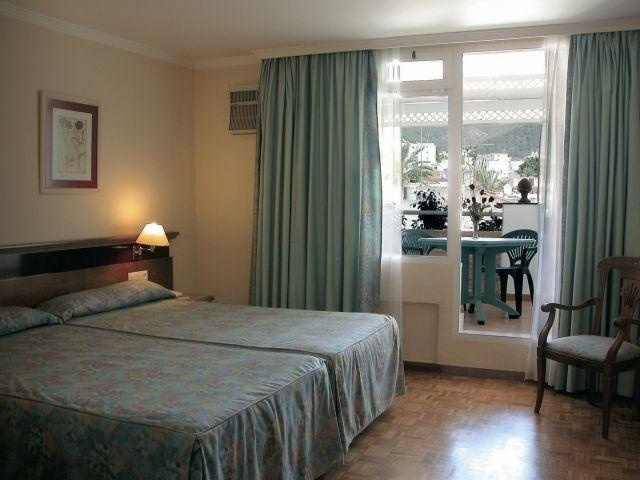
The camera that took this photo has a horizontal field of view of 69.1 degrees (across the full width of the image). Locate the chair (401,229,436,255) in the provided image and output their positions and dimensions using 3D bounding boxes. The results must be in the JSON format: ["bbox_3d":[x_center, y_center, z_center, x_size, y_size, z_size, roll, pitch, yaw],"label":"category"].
[{"bbox_3d":[1.001,-0.016,4.630,0.237,0.342,0.253,3,10,42],"label":"chair"}]

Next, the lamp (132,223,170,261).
[{"bbox_3d":[-1.638,-0.027,4.465,0.306,0.430,0.343,6,7,25],"label":"lamp"}]

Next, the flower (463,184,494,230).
[{"bbox_3d":[1.809,-0.389,5.376,0.372,0.795,0.408,-1,3,19],"label":"flower"}]
